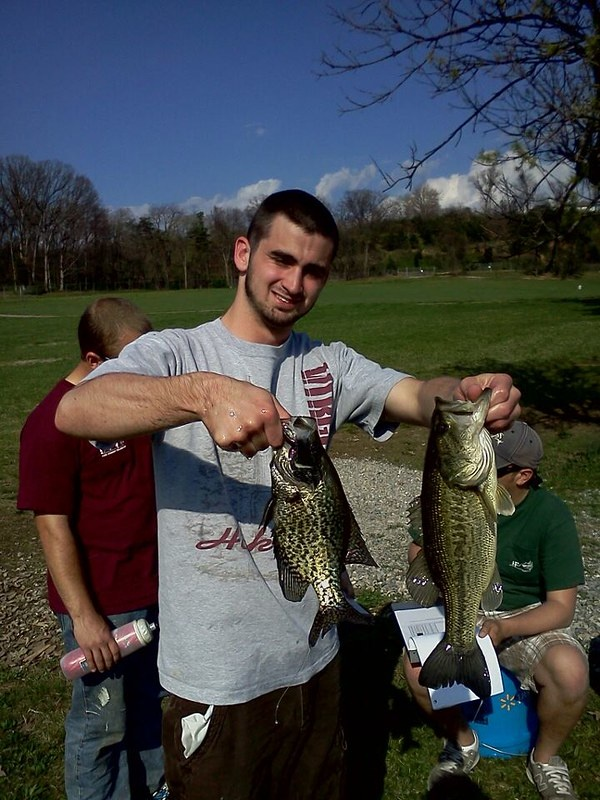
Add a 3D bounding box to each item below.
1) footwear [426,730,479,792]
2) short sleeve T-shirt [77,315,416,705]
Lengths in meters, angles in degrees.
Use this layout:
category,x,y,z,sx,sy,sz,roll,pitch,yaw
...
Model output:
category,x,y,z,sx,sy,sz,roll,pitch,yaw
footwear,0.996,2.226,4.017,0.176,0.175,0.483,1,17,45
short sleeve T-shirt,-0.315,0.475,2.833,1.836,1.464,0.488,5,-11,-17
